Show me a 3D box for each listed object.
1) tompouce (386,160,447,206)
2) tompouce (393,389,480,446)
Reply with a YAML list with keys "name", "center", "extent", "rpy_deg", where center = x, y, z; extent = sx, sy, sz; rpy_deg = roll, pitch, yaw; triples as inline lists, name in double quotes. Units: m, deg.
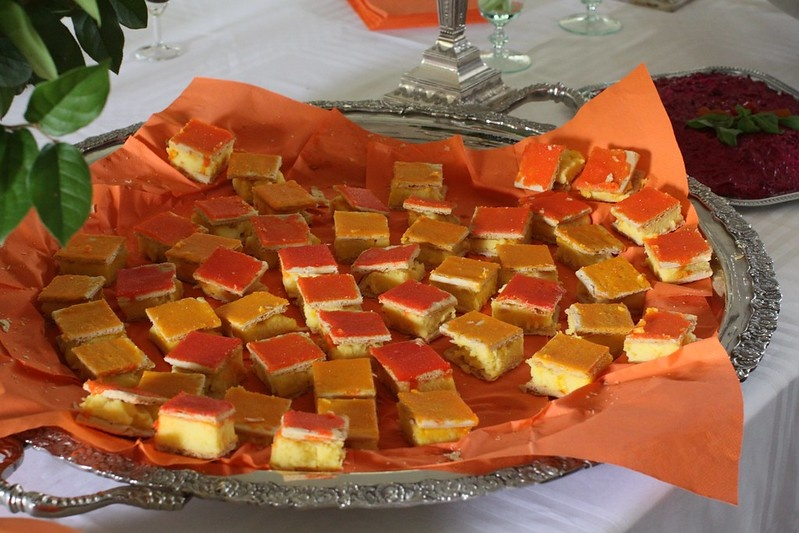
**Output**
- name: "tompouce"
  center: [0.078, -0.395, 3.050]
  extent: [0.277, 0.120, 0.197]
  rpy_deg: [-2, 43, 4]
- name: "tompouce"
  center: [0.105, 0.486, 2.073]
  extent: [0.242, 0.077, 0.191]
  rpy_deg: [-5, 24, -20]
